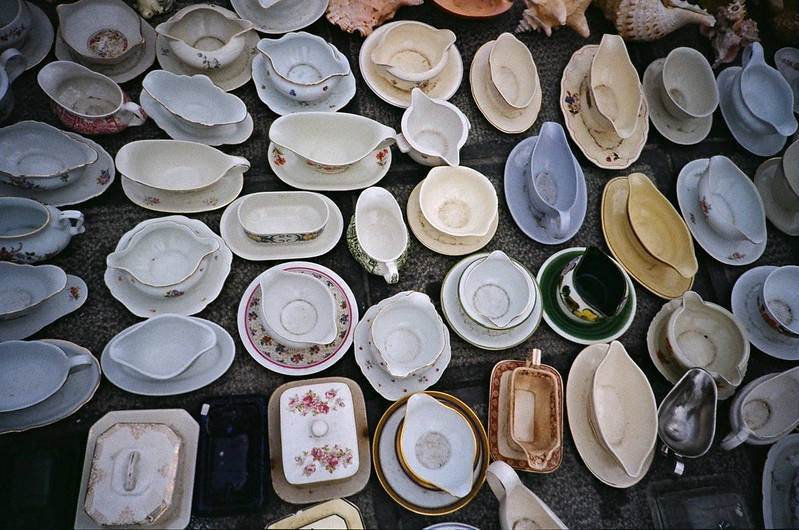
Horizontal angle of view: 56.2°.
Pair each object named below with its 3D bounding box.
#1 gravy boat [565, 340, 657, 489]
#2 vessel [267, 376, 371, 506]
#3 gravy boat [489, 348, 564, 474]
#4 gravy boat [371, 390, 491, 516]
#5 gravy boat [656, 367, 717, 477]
[{"bbox_3d":[0.944,0.656,3.325,0.408,0.640,0.194,-5,-15,1],"label":"gravy boat"},{"bbox_3d":[-0.342,0.746,3.180,0.440,0.495,0.272,-1,11,-9],"label":"vessel"},{"bbox_3d":[0.557,0.656,3.374,0.332,0.543,0.194,4,-14,3],"label":"gravy boat"},{"bbox_3d":[0.130,0.800,3.186,0.500,0.527,0.270,2,10,5],"label":"gravy boat"},{"bbox_3d":[1.303,0.659,3.417,0.227,0.520,0.176,18,-2,11],"label":"gravy boat"}]
